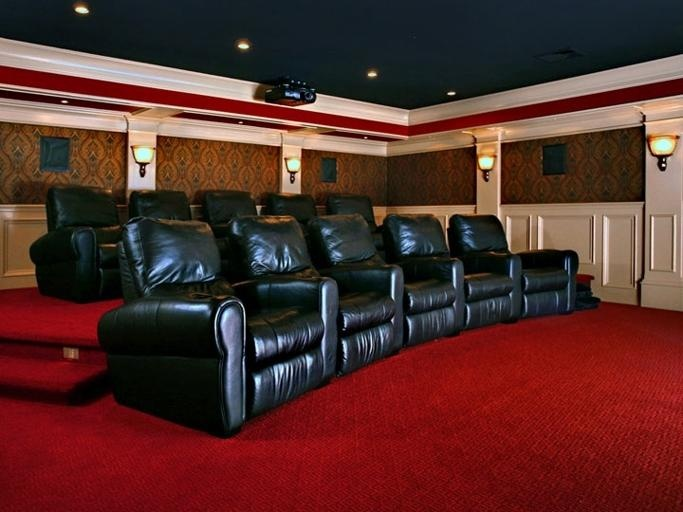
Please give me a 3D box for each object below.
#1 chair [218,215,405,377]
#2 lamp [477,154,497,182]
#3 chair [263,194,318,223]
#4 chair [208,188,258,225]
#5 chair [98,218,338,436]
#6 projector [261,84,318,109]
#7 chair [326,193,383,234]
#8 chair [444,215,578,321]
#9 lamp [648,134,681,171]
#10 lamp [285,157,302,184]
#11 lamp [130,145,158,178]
[{"bbox_3d":[-0.148,0.200,3.757,1.238,1.205,1.161,-3,-2,38],"label":"chair"},{"bbox_3d":[2.161,-1.315,7.114,0.153,0.426,0.253,-9,13,-44],"label":"lamp"},{"bbox_3d":[-0.745,-0.729,6.913,0.688,0.506,0.458,-1,15,-26],"label":"chair"},{"bbox_3d":[-1.414,-0.621,5.979,0.747,0.524,0.387,1,-11,-32],"label":"chair"},{"bbox_3d":[-0.825,0.450,3.071,1.239,1.169,1.311,-2,-1,30],"label":"chair"},{"bbox_3d":[-0.666,-2.062,6.008,0.457,0.239,0.493,-6,11,-37],"label":"projector"},{"bbox_3d":[0.172,-0.628,7.240,0.677,0.683,0.672,0,-3,-20],"label":"chair"},{"bbox_3d":[1.878,0.090,5.310,1.246,1.212,1.179,0,-3,-31],"label":"chair"},{"bbox_3d":[3.674,-1.211,5.572,0.335,0.394,0.387,-1,0,2],"label":"lamp"},{"bbox_3d":[-0.774,-1.388,7.627,0.178,0.436,0.288,7,11,35],"label":"lamp"},{"bbox_3d":[-2.572,-1.239,6.320,0.436,0.490,0.350,0,1,-11],"label":"lamp"}]
